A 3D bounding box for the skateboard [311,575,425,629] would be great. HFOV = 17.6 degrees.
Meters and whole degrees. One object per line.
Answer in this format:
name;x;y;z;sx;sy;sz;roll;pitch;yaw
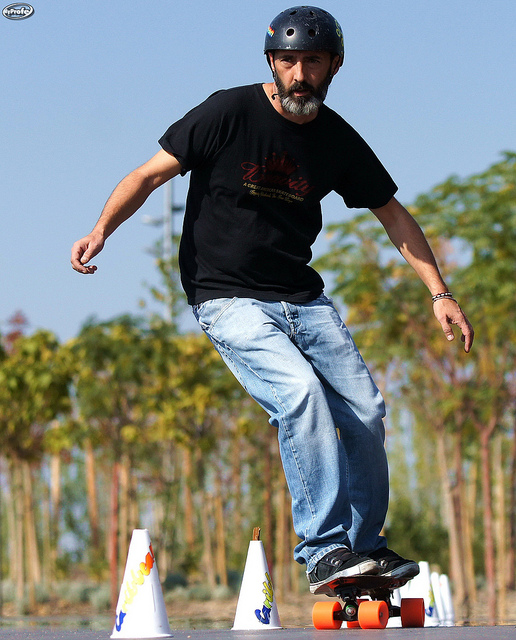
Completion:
skateboard;0.521;1.326;7.764;0.526;0.275;0.390;-7;-10;2
